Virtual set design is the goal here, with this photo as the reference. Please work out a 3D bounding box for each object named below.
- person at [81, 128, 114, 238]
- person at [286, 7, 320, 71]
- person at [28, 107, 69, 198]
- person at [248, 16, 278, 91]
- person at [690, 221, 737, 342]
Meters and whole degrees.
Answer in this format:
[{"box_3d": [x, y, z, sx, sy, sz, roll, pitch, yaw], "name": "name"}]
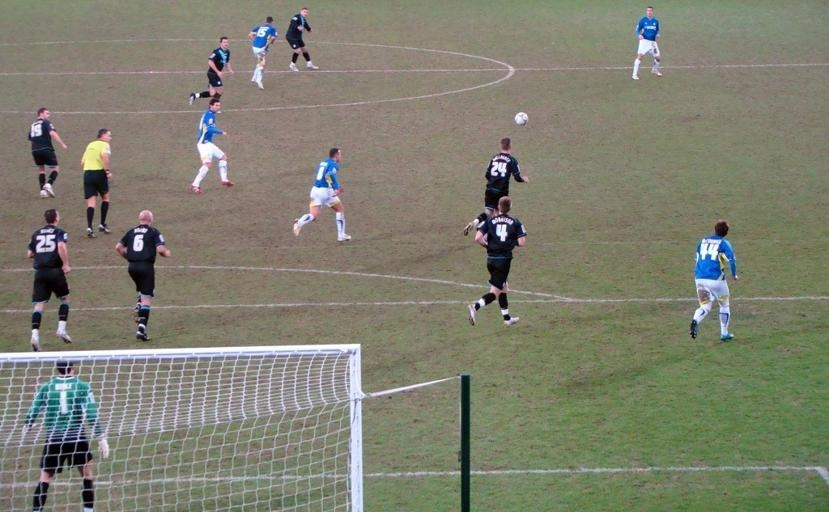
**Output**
[{"box_3d": [-8.879, -2.130, 36.788, 1.123, 2.916, 1.547, 0, -1, -41], "name": "person"}, {"box_3d": [-4.288, -7.896, 47.436, 1.617, 2.441, 1.118, 3, 11, 8], "name": "person"}, {"box_3d": [-10.765, -3.098, 38.414, 1.204, 2.538, 1.323, -7, 7, -42], "name": "person"}, {"box_3d": [-5.420, -7.365, 46.652, 1.051, 2.485, 1.343, -7, 20, -41], "name": "person"}, {"box_3d": [7.383, 0.539, 32.557, 1.360, 2.901, 1.421, 1, 1, 7], "name": "person"}]
